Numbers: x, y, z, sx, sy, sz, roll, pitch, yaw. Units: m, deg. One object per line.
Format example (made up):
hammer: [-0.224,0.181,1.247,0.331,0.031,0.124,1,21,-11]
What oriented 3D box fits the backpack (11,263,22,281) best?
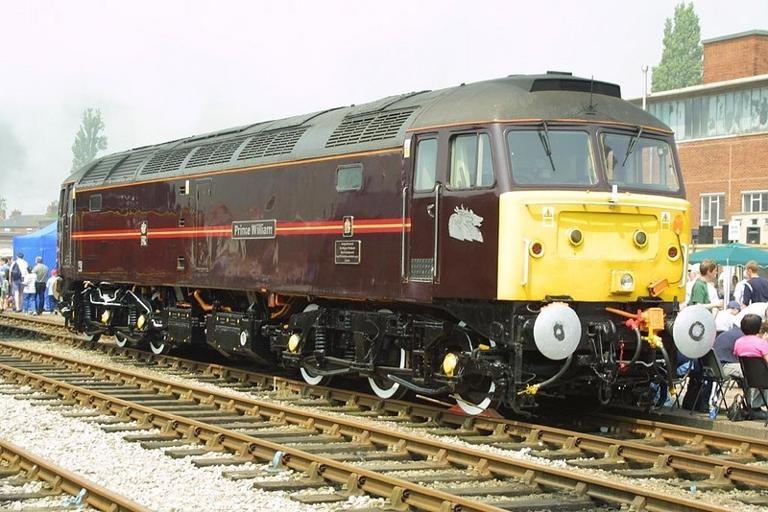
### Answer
backpack: [-17.596,0.756,29.530,0.394,0.753,0.776,0,-2,7]

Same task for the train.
train: [-4.010,-0.283,16.490,5.365,6.010,20.570,0,1,-35]

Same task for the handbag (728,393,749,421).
handbag: [5.963,2.552,10.380,0.335,0.594,0.606,-2,-3,31]
